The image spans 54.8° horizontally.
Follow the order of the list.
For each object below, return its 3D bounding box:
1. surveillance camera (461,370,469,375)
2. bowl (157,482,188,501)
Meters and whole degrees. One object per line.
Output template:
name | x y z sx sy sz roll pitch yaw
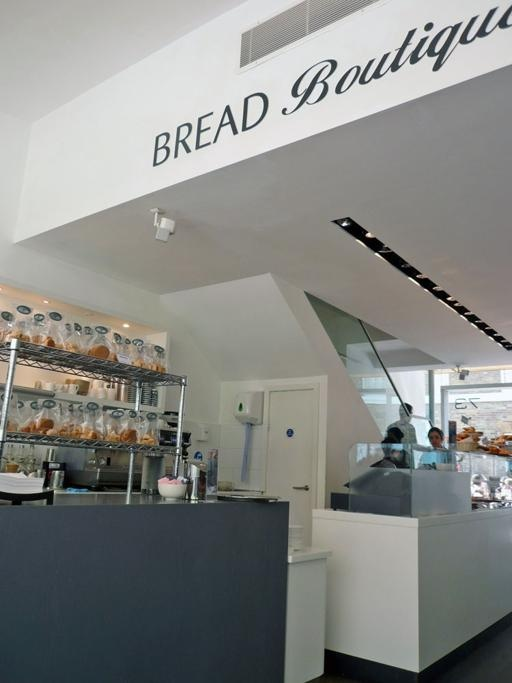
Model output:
surveillance camera | 3.036 0.415 7.117 0.075 0.081 0.085 1 -14 0
bowl | -0.337 0.589 1.999 0.115 0.071 0.073 4 -13 -8
